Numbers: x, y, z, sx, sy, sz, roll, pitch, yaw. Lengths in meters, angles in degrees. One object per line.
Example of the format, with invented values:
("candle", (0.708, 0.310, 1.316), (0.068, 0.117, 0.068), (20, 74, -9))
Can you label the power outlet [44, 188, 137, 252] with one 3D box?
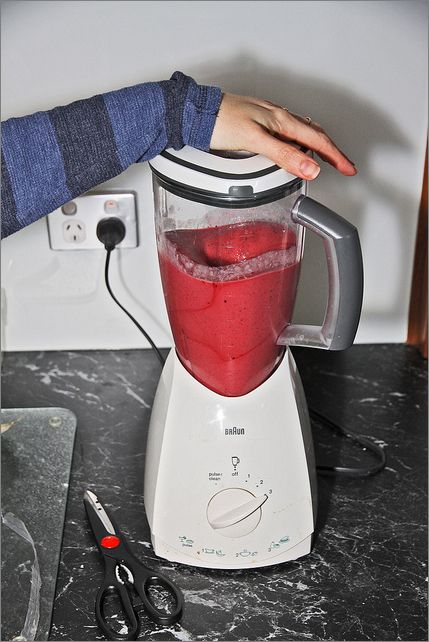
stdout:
("power outlet", (-0.160, -0.136, 0.782), (0.117, 0.066, 0.095), (1, 22, 1))

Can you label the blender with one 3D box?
("blender", (0.029, 0.042, 0.513), (0.187, 0.347, 0.137), (0, 23, 4))
